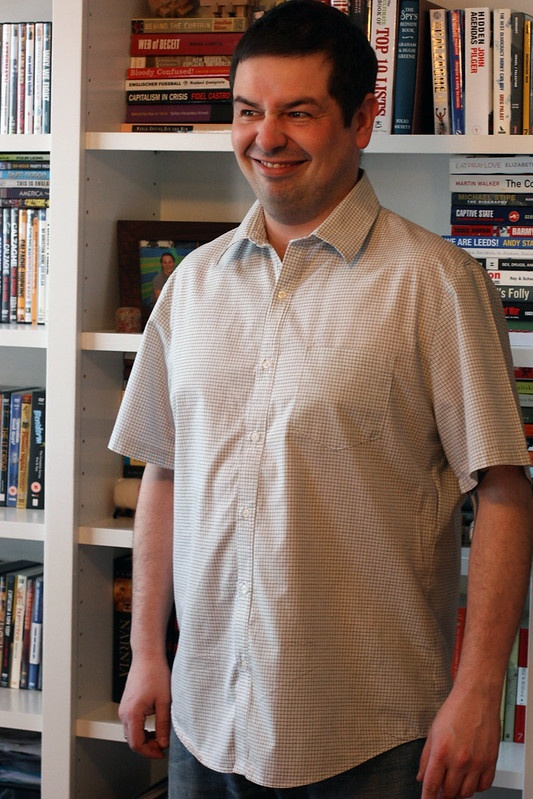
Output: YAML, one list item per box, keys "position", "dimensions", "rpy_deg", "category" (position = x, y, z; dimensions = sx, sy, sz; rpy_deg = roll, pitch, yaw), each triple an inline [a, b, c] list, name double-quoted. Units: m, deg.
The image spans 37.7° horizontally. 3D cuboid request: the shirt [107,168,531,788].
- position: [0.026, 0.082, 0.970]
  dimensions: [0.559, 0.735, 0.186]
  rpy_deg: [0, -1, 30]
  category: "shirt"
